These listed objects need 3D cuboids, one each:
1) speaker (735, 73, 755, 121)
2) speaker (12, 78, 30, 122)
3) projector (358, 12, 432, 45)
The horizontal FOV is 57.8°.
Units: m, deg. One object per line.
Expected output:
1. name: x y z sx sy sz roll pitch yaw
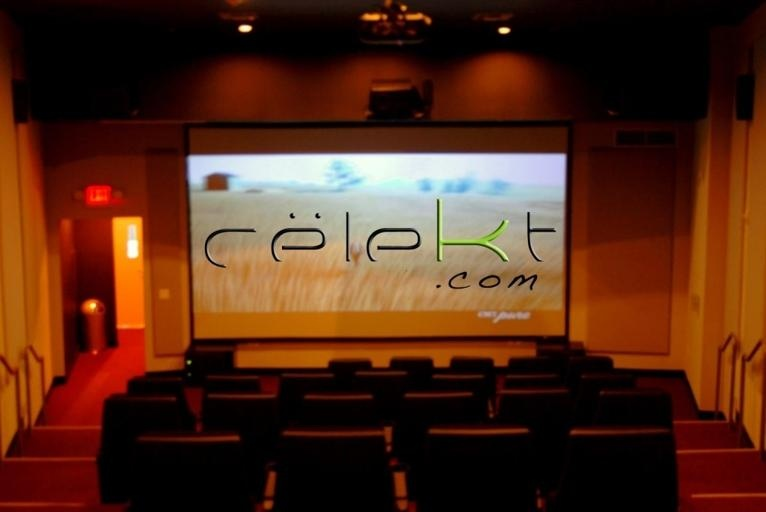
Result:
1. speaker: 4.450 -1.955 8.494 0.202 0.487 0.134 1 0 19
2. speaker: -4.517 -1.934 8.615 0.169 0.579 0.126 2 0 -30
3. projector: 0.122 -2.556 7.741 0.825 0.207 0.513 0 13 -1
